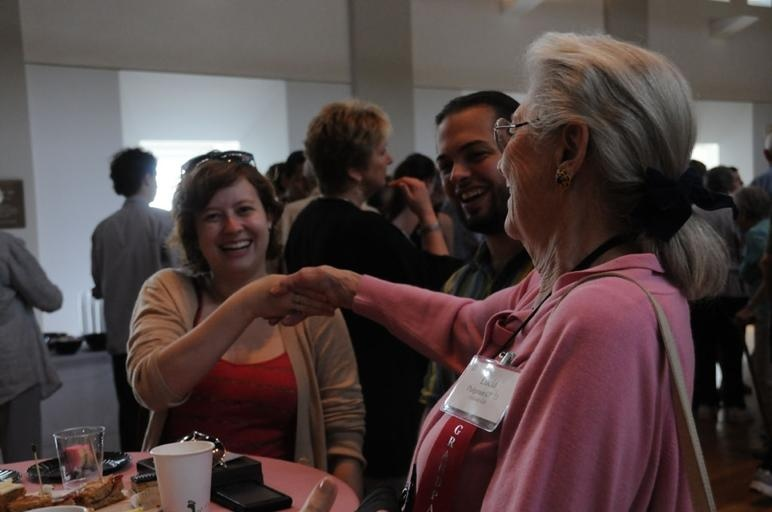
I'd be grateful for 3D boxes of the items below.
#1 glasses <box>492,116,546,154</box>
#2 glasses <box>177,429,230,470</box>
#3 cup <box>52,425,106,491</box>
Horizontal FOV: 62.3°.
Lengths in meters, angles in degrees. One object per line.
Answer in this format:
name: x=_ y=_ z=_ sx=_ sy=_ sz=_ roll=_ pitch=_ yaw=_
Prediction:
glasses: x=0.401 y=-0.368 z=1.902 sx=0.132 sy=0.049 sz=0.132 roll=1 pitch=7 yaw=-1
glasses: x=-0.613 y=0.630 z=2.214 sx=0.143 sy=0.076 sz=0.167 roll=5 pitch=2 yaw=8
cup: x=-1.096 y=0.694 z=2.270 sx=0.196 sy=0.216 sz=0.195 roll=-3 pitch=-5 yaw=0
